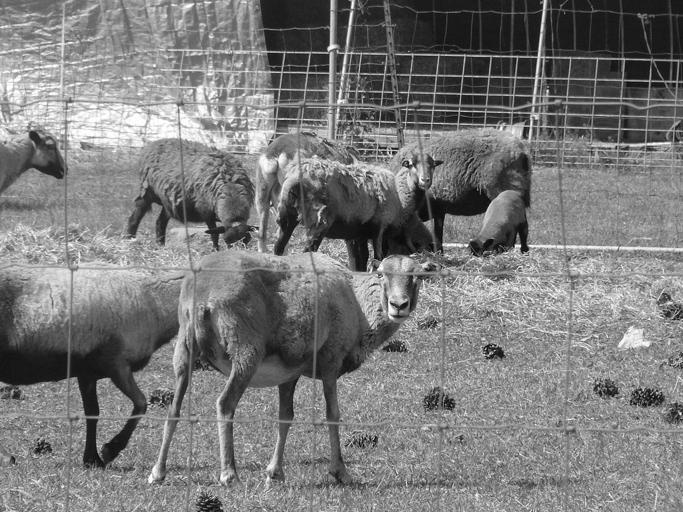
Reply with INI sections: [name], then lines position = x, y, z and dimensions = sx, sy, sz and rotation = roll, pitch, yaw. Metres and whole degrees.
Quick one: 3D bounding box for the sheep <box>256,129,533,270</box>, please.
[sheep]
position = -0.216, -0.778, 13.724
dimensions = 2.085, 1.608, 1.781
rotation = -3, 13, -32
